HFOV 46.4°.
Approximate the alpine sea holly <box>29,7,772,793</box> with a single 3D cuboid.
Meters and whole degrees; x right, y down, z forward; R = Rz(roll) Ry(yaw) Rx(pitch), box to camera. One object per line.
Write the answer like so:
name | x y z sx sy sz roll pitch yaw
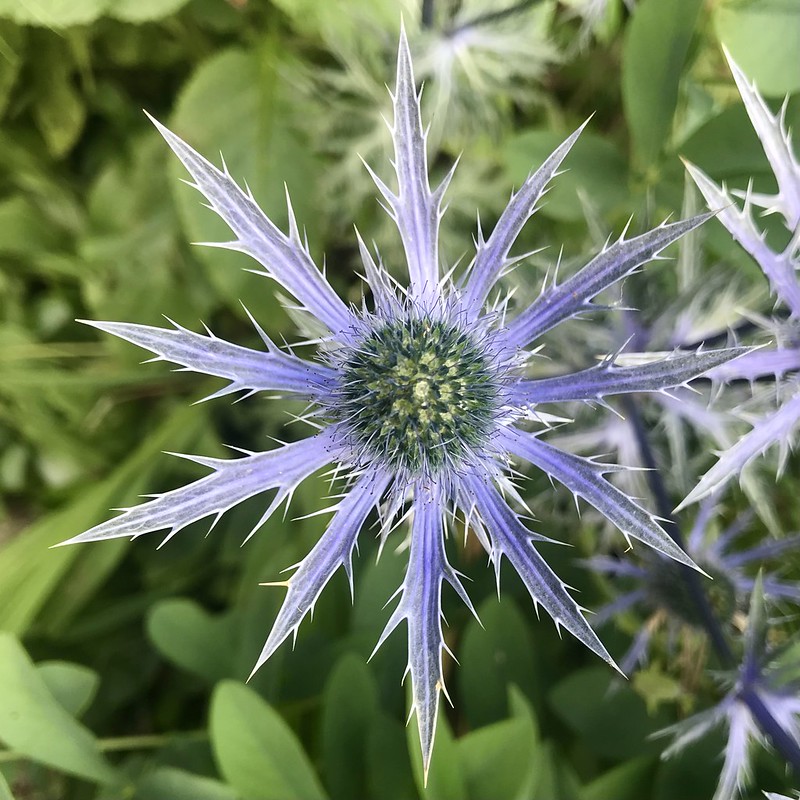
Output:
alpine sea holly | 0.036 0.042 1.730 1.123 1.197 0.498 -10 -20 -3
